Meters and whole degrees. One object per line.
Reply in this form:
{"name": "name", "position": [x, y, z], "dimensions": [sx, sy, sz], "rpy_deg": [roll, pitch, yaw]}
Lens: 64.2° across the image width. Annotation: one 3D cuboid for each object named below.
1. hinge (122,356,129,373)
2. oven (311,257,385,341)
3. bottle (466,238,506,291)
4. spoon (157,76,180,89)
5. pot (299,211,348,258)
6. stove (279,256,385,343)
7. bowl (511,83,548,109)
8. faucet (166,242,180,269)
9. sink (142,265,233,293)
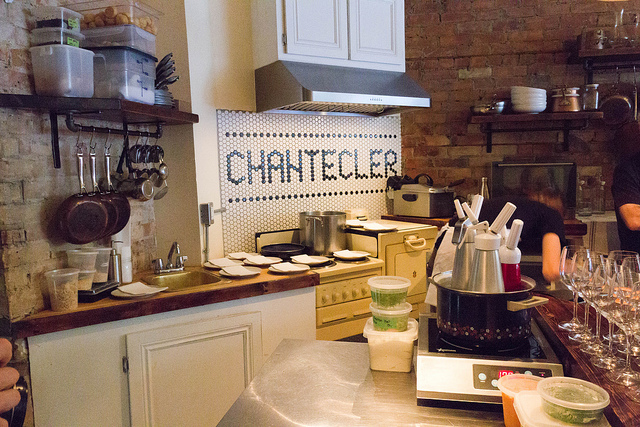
{"name": "hinge", "position": [-1.141, 0.885, 2.987], "dimensions": [0.035, 0.091, 0.009], "rpy_deg": [-1, 7, 11]}
{"name": "oven", "position": [0.129, 0.634, 3.850], "dimensions": [0.612, 0.538, 0.436], "rpy_deg": [-7, 9, -38]}
{"name": "bottle", "position": [0.706, 0.212, 2.179], "dimensions": [0.154, 0.223, 0.090], "rpy_deg": [-1, 7, 10]}
{"name": "spoon", "position": [-0.987, -0.854, 3.311], "dimensions": [0.036, 0.101, 0.179], "rpy_deg": [1, 7, 24]}
{"name": "pot", "position": [0.020, 0.160, 4.150], "dimensions": [0.394, 0.309, 0.432], "rpy_deg": [0, 5, 0]}
{"name": "stove", "position": [0.044, 0.545, 3.879], "dimensions": [0.672, 0.604, 0.534], "rpy_deg": [-3, 10, -37]}
{"name": "bowl", "position": [1.892, -1.022, 4.556], "dimensions": [0.298, 0.228, 0.336], "rpy_deg": [4, 9, 37]}
{"name": "faucet", "position": [-1.025, 0.291, 3.571], "dimensions": [0.100, 0.179, 0.113], "rpy_deg": [3, 9, 40]}
{"name": "sink", "position": [-0.904, 0.469, 3.431], "dimensions": [0.432, 0.120, 0.502], "rpy_deg": [-7, 8, -38]}
